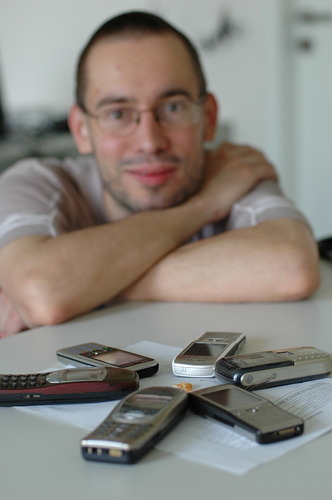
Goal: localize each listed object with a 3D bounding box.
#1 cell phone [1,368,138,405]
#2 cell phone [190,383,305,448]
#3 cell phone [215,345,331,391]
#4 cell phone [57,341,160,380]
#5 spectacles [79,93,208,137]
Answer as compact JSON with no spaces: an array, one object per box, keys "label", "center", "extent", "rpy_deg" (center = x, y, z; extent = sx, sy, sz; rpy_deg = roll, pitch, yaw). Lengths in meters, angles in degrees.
[{"label":"cell phone","center":[-0.080,0.111,0.366],"extent":[0.137,0.021,0.038],"rpy_deg":[0,8,-2]},{"label":"cell phone","center":[0.056,0.116,0.319],"extent":[0.042,0.017,0.078],"rpy_deg":[-6,5,-36]},{"label":"cell phone","center":[0.095,0.097,0.400],"extent":[0.079,0.016,0.040],"rpy_deg":[-4,10,-21]},{"label":"cell phone","center":[-0.051,0.099,0.451],"extent":[0.082,0.015,0.039],"rpy_deg":[10,15,34]},{"label":"spectacles","center":[-0.055,-0.334,1.123],"extent":[0.316,0.106,0.093],"rpy_deg":[-3,5,-1]}]
